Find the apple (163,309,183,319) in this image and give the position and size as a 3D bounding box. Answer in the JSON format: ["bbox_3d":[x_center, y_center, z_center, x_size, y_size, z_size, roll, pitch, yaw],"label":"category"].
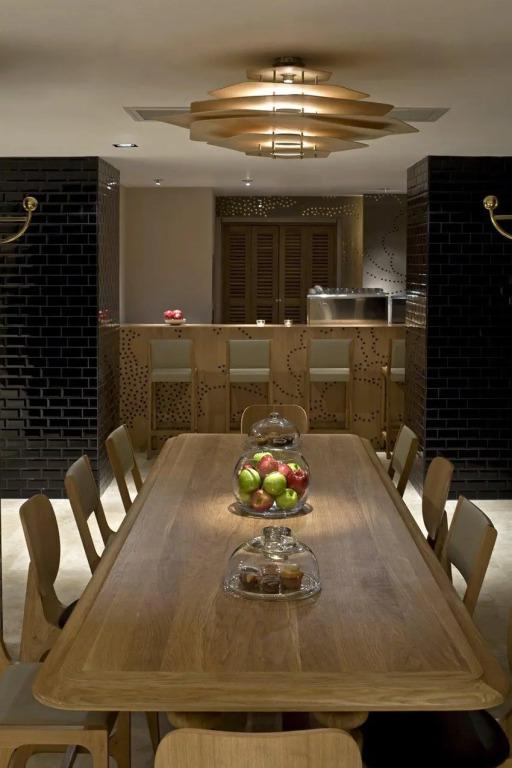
[{"bbox_3d":[-0.988,-0.822,6.268,0.219,0.136,0.241,-2,10,-16],"label":"apple"}]

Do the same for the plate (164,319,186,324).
[{"bbox_3d":[-0.973,-0.731,6.185,0.172,0.064,0.184,0,2,-2],"label":"plate"}]

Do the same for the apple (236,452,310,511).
[{"bbox_3d":[0.055,0.305,1.875,0.196,0.206,0.210,1,7,1],"label":"apple"}]
